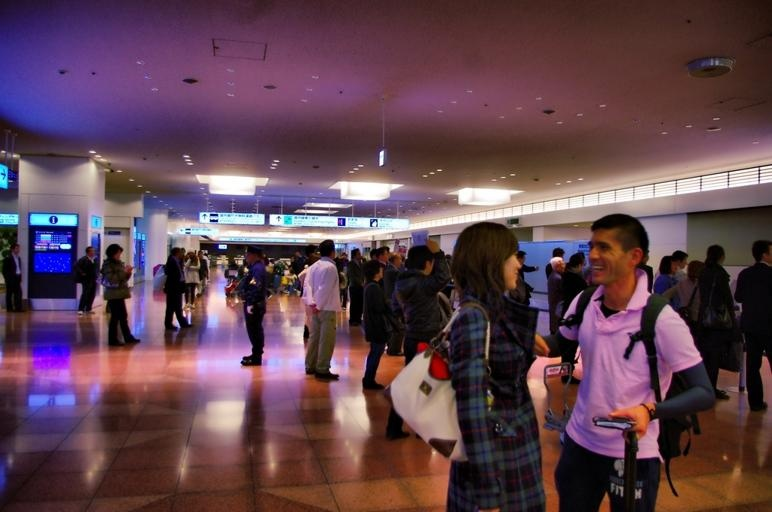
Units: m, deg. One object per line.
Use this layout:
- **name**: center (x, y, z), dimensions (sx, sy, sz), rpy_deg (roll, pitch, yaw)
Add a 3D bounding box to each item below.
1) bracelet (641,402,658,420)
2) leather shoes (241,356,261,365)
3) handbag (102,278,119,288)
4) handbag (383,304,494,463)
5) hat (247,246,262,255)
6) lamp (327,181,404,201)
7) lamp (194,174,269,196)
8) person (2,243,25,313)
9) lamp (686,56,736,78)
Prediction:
- **bracelet**: center (1.650, 0.964, 3.276), dimensions (0.080, 0.099, 0.105), rpy_deg (11, -11, 33)
- **leather shoes**: center (-2.355, 1.837, 9.177), dimensions (0.267, 0.102, 0.159), rpy_deg (9, -11, -8)
- **handbag**: center (-5.395, 0.504, 10.271), dimensions (0.397, 0.143, 0.295), rpy_deg (1, -8, 38)
- **handbag**: center (0.310, 0.785, 3.344), dimensions (0.580, 0.981, 0.251), rpy_deg (0, 0, 0)
- **hat**: center (-2.322, -0.087, 9.258), dimensions (0.245, 0.160, 0.330), rpy_deg (0, 0, -3)
- **lamp**: center (-0.818, -2.515, 20.523), dimensions (2.597, 0.654, 1.615), rpy_deg (0, 0, -5)
- **lamp**: center (-5.924, -2.726, 20.200), dimensions (2.750, 0.569, 1.837), rpy_deg (0, 0, 8)
- **person**: center (-10.713, 0.611, 15.119), dimensions (0.425, 1.952, 0.661), rpy_deg (0, 0, -22)
- **lamp**: center (5.297, -3.069, 8.543), dimensions (0.705, 0.163, 0.419), rpy_deg (0, 0, 15)
